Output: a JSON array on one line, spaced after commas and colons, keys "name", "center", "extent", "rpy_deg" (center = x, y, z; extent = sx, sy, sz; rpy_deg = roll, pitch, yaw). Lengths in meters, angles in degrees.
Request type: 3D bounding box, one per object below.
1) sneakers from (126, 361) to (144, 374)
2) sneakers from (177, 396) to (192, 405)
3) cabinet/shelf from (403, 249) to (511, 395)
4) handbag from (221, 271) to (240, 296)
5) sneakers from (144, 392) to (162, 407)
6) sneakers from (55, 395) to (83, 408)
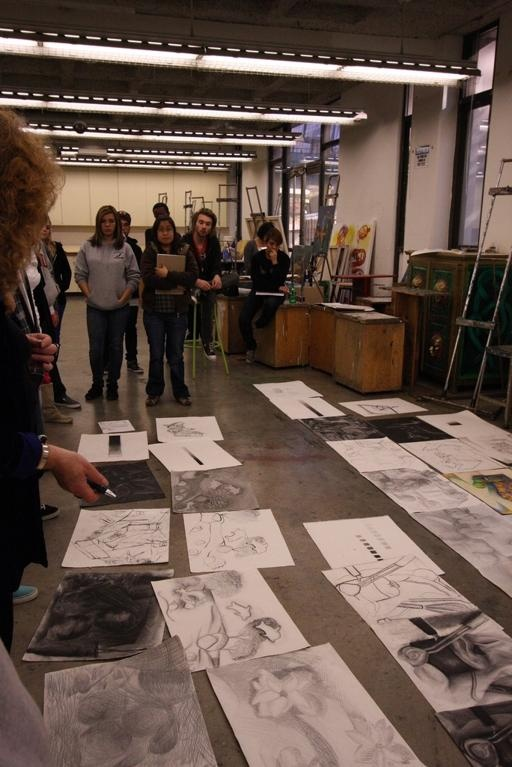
[{"name": "sneakers", "center": [-1.248, -0.166, 5.757], "extent": [0.084, 0.103, 0.248], "rpy_deg": [-8, 15, -36]}, {"name": "sneakers", "center": [-0.580, 0.142, 4.540], "extent": [0.053, 0.065, 0.147], "rpy_deg": [-4, 1, -15]}, {"name": "cabinet/shelf", "center": [1.793, -0.526, 4.900], "extent": [0.740, 1.464, 1.119], "rpy_deg": [-1, 9, -9]}, {"name": "handbag", "center": [-0.299, -1.169, 6.573], "extent": [0.097, 0.291, 0.207], "rpy_deg": [-5, 21, 4]}, {"name": "sneakers", "center": [-0.835, 0.133, 4.550], "extent": [0.099, 0.141, 0.303], "rpy_deg": [-1, -2, 0]}, {"name": "sneakers", "center": [-1.489, 0.138, 4.482], "extent": [0.231, 0.097, 0.085], "rpy_deg": [5, 7, -5]}]
